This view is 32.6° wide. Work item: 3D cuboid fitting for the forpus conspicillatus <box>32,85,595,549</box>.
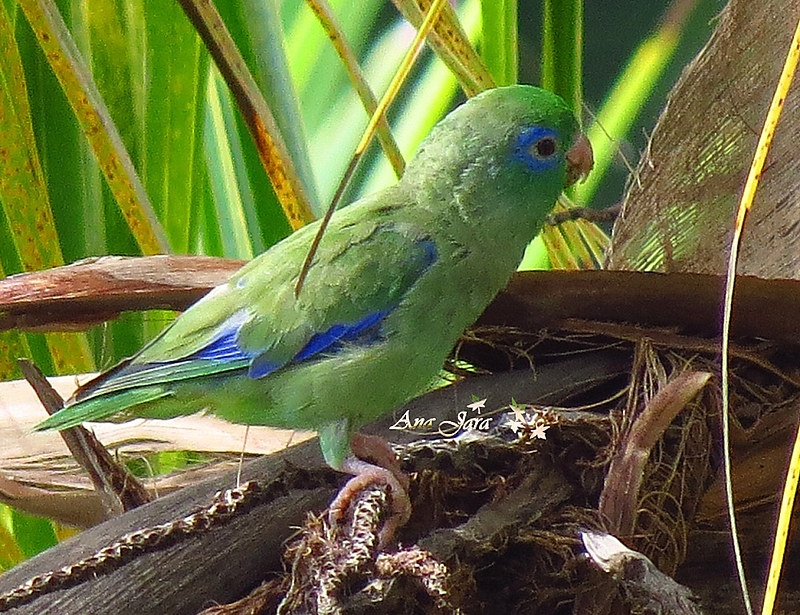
[{"bbox_3d":[-0.138,-0.014,2.125,0.856,0.599,0.322,-2,5,11],"label":"forpus conspicillatus"}]
